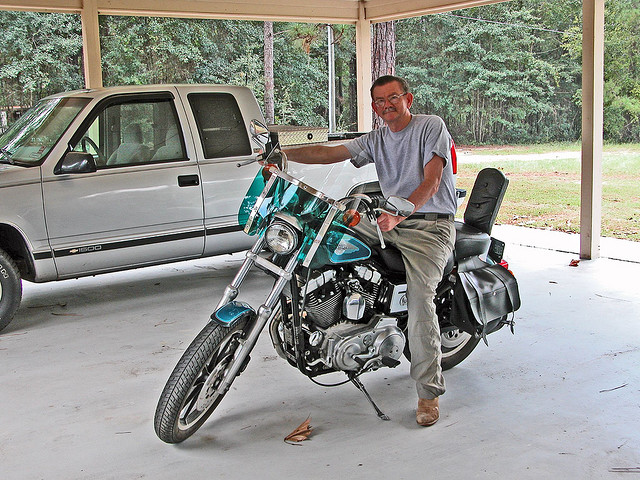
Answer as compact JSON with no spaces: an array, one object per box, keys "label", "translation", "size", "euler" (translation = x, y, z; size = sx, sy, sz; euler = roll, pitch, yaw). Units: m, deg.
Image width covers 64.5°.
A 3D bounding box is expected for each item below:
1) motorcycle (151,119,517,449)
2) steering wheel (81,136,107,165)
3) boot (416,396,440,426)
[{"label":"motorcycle","translation":[0.215,0.231,3.446],"size":[3.002,1.489,1.120],"euler":[-6,9,-38]},{"label":"steering wheel","translation":[-2.375,-0.907,5.250],"size":[0.075,0.251,0.297],"euler":[-26,-11,14]},{"label":"boot","translation":[0.696,1.092,3.257],"size":[0.135,0.145,0.142],"euler":[1,14,12]}]
